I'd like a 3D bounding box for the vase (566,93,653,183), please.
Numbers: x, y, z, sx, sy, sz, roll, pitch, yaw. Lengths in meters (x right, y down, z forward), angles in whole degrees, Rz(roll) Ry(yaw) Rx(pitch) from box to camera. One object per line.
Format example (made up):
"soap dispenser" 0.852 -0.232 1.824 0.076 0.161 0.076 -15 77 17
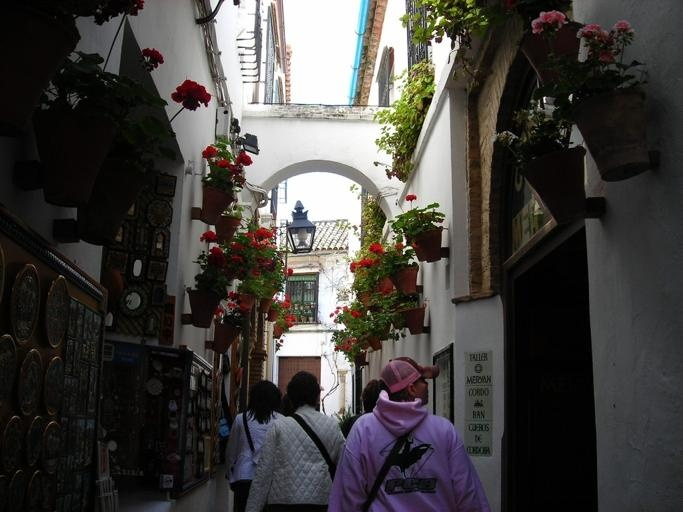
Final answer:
"vase" 1.134 -0.500 2.601 0.292 0.352 0.305 -4 -16 2

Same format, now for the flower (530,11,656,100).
"flower" 1.145 -0.902 2.646 0.401 0.427 0.374 -19 5 -38

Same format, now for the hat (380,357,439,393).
"hat" 0.371 0.633 3.282 0.246 0.148 0.169 -18 5 -9

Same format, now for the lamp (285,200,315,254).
"lamp" -0.816 -0.552 11.866 0.554 1.205 0.635 -6 -23 -3

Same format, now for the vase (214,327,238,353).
"vase" -1.239 0.912 6.388 0.237 0.292 0.263 12 -6 4

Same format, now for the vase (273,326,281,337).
"vase" -1.397 1.681 12.823 0.215 0.258 0.241 1 -18 0
